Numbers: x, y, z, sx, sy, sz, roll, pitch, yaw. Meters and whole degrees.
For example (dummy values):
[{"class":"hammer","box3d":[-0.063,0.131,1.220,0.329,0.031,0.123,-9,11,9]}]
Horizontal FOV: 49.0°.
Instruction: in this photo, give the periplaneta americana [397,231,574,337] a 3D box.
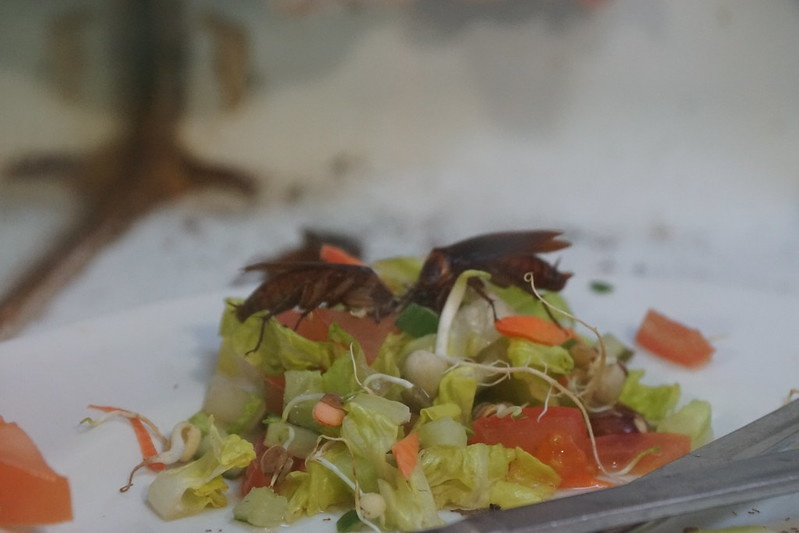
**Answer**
[{"class":"periplaneta americana","box3d":[0.174,0.000,1.689,0.247,0.094,0.199,-12,-12,-22]}]

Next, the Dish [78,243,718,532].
[{"class":"Dish","box3d":[0.026,0.093,1.534,0.813,0.269,0.580,-15,11,-42]}]

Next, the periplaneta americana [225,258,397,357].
[{"class":"periplaneta americana","box3d":[-0.163,0.086,1.622,0.215,0.081,0.165,11,-7,-3]}]
